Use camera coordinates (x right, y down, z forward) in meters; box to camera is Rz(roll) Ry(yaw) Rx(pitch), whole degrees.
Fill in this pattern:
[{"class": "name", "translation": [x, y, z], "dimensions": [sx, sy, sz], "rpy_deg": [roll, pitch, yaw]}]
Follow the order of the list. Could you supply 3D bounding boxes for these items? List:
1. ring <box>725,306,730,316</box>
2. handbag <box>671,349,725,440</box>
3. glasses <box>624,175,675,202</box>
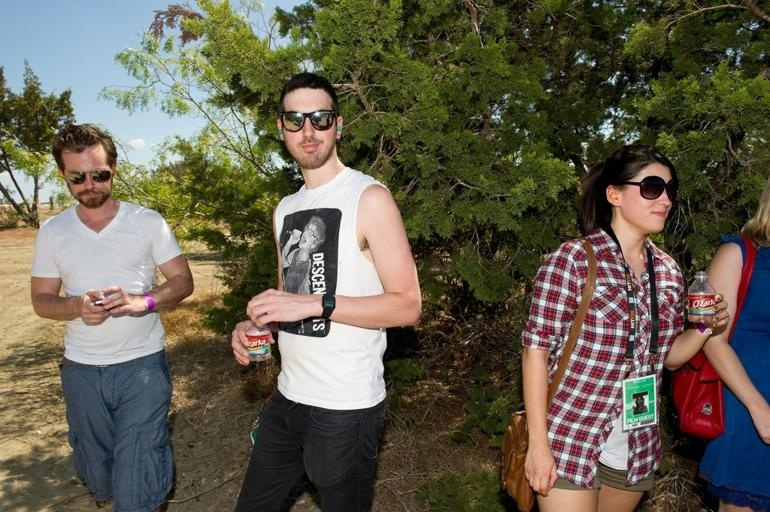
[{"class": "ring", "translation": [2.646, 0.429, 4.069], "dimensions": [0.054, 0.055, 0.022], "rpy_deg": [12, -38, -15]}, {"class": "handbag", "translation": [2.487, 1.072, 4.154], "dimensions": [0.256, 0.756, 0.698], "rpy_deg": [0, -6, 22]}, {"class": "glasses", "translation": [1.970, -0.497, 3.832], "dimensions": [0.200, 0.096, 0.214], "rpy_deg": [3, -5, -3]}]
